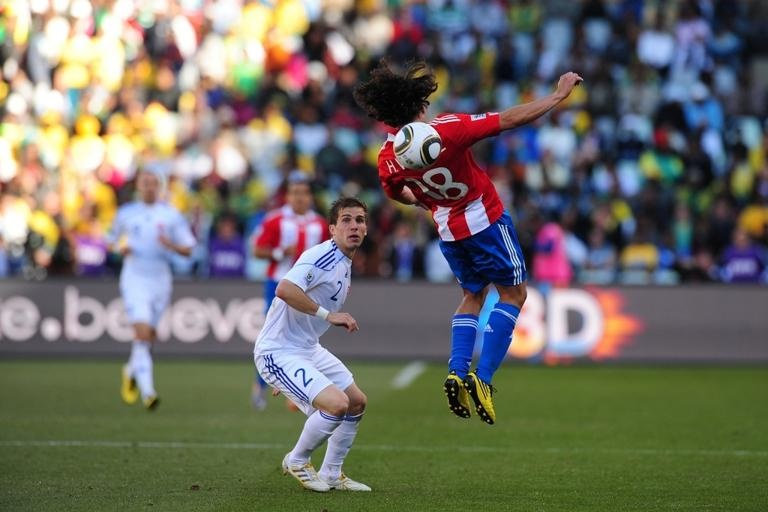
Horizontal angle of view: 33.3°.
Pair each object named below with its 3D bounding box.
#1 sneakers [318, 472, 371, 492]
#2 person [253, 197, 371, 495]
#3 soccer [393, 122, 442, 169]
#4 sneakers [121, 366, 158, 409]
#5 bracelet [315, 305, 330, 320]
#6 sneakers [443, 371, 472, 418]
[{"bbox_3d":[-0.486,2.704,15.238,0.576,0.234,0.219,3,-8,7],"label":"sneakers"},{"bbox_3d":[-0.831,1.047,15.250,1.255,3.421,0.798,-1,10,-6],"label":"person"},{"bbox_3d":[0.410,-1.335,15.355,0.476,0.579,0.530,-3,5,11],"label":"soccer"},{"bbox_3d":[-3.271,1.762,17.028,0.234,0.681,0.290,-28,11,-8],"label":"sneakers"},{"bbox_3d":[-0.738,0.676,15.051,0.145,0.156,0.134,15,-10,-16],"label":"bracelet"},{"bbox_3d":[0.857,1.689,15.327,0.209,0.625,0.303,-11,29,23],"label":"sneakers"}]
